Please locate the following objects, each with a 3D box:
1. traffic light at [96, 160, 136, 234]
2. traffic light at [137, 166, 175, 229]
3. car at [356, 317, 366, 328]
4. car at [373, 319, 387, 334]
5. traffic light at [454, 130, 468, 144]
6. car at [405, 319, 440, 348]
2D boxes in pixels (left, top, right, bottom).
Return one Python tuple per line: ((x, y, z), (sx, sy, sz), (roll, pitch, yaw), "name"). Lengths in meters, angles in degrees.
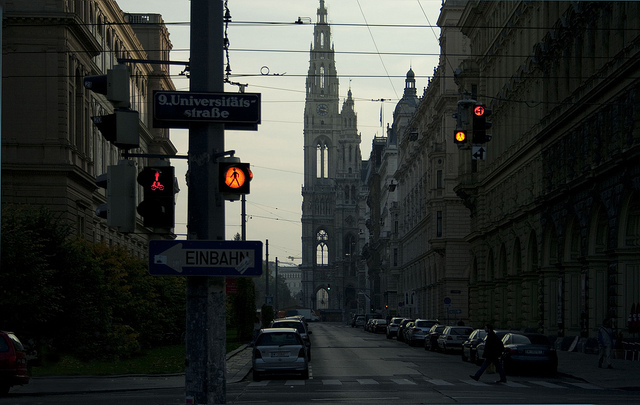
((-6.888, -0.216, 37.486), (1.168, 2.563, 1.235), (1, 1, -9), "traffic light")
((-5.737, -0.268, 37.688), (1.141, 1.765, 1.084), (5, 5, -18), "traffic light")
((5.162, 15.572, 145.222), (0.943, 1.374, 3.828), (0, -12, -1), "car")
((6.203, 12.916, 115.819), (1.283, 1.476, 1.978), (0, -11, 2), "car")
((6.426, -3.053, 50.841), (0.533, 0.606, 0.534), (0, -11, 3), "traffic light")
((7.191, 9.304, 78.394), (1.895, 1.650, 4.514), (0, -6, 0), "car")
